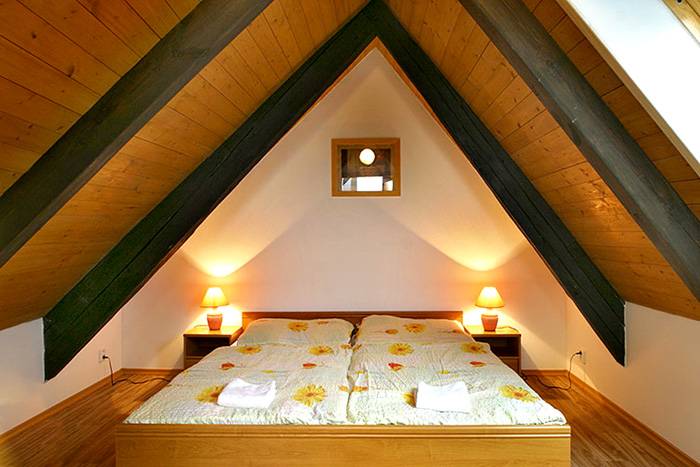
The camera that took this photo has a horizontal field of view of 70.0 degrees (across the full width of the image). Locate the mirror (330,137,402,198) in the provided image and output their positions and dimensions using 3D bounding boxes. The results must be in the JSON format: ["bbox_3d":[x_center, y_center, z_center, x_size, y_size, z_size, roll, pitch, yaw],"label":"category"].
[{"bbox_3d":[0.168,-0.657,4.971,0.668,0.072,0.506,-1,-86,2],"label":"mirror"}]

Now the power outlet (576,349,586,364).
[{"bbox_3d":[2.172,1.156,4.705,0.091,0.159,0.150,-2,-99,7],"label":"power outlet"}]

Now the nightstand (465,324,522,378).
[{"bbox_3d":[1.360,1.083,4.879,0.593,0.430,0.486,0,-91,-2],"label":"nightstand"}]

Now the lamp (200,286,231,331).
[{"bbox_3d":[-1.270,0.733,4.976,0.400,0.379,0.543,0,-91,-15],"label":"lamp"}]

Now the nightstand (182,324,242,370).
[{"bbox_3d":[-1.334,1.157,4.805,0.409,0.379,0.341,0,-100,8],"label":"nightstand"}]
